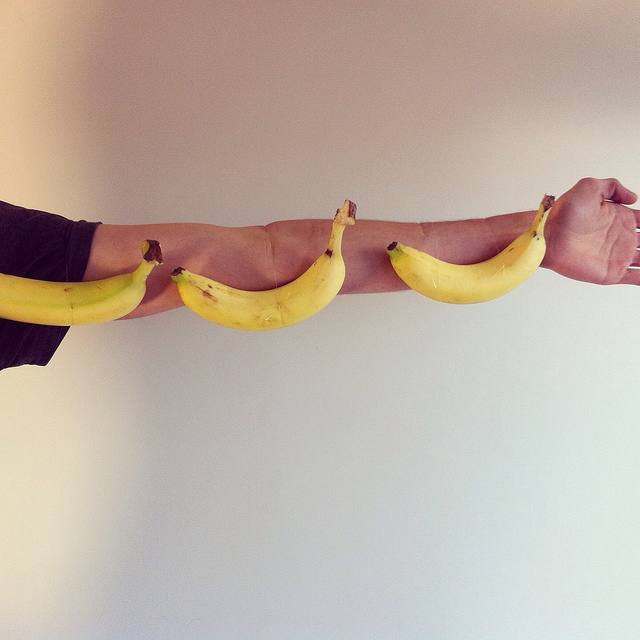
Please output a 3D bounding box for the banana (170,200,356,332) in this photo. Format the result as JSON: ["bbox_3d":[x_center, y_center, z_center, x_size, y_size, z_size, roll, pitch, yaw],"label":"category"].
[{"bbox_3d":[-0.083,-0.091,1.797,0.374,0.219,0.216,-3,-25,20],"label":"banana"}]
